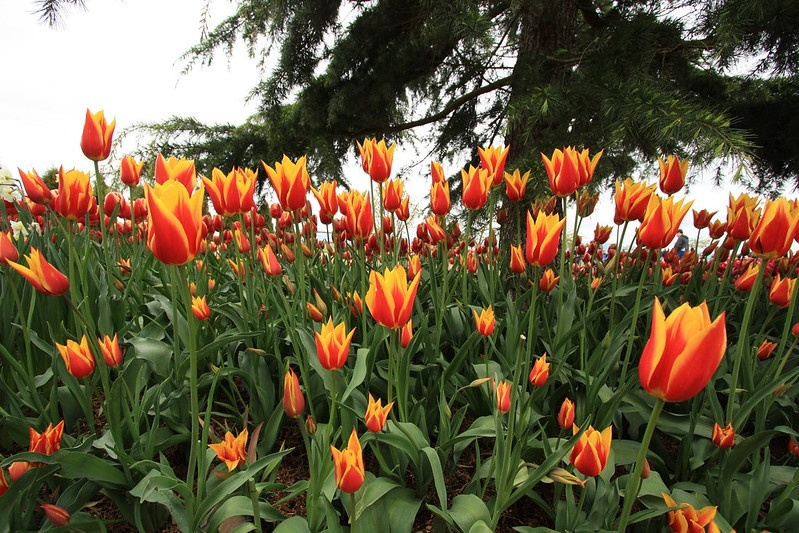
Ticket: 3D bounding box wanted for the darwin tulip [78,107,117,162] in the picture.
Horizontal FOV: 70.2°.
[{"bbox_3d":[-1.814,-0.783,3.403,0.175,0.307,0.315,-4,8,-24],"label":"darwin tulip"}]
